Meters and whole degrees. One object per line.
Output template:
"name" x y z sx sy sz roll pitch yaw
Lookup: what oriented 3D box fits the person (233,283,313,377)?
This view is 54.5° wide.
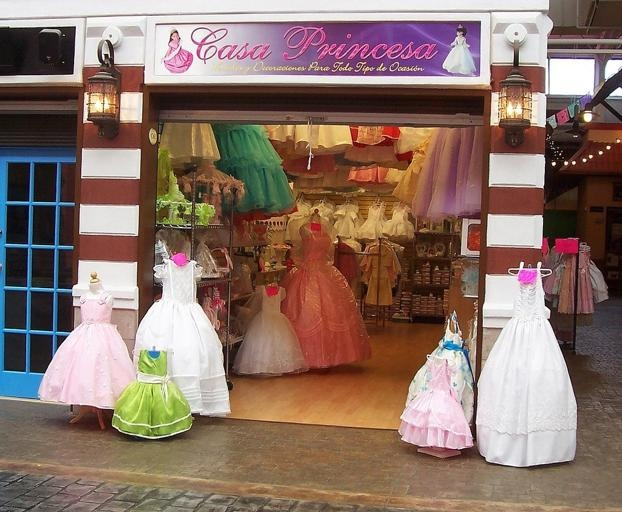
"person" -0.433 0.780 6.408 0.724 0.957 0.543 0 -14 -8

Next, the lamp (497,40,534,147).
"lamp" 1.445 -1.126 4.261 0.231 0.694 0.286 2 3 21

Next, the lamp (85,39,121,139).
"lamp" -1.598 -1.275 4.603 0.228 0.744 0.262 1 3 4

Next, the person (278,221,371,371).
"person" 0.064 0.436 6.957 1.203 1.734 1.055 10 -20 -37

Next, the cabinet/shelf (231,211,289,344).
"cabinet/shelf" -0.588 0.271 6.598 0.401 1.380 1.327 0 2 5

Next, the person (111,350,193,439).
"person" -1.075 0.938 4.473 0.730 0.816 0.505 1 -6 -13

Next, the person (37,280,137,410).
"person" -1.680 0.650 4.555 0.671 0.910 0.613 2 -9 -6

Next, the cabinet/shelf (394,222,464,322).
"cabinet/shelf" 1.861 0.243 9.802 1.000 1.625 0.490 2 3 14
